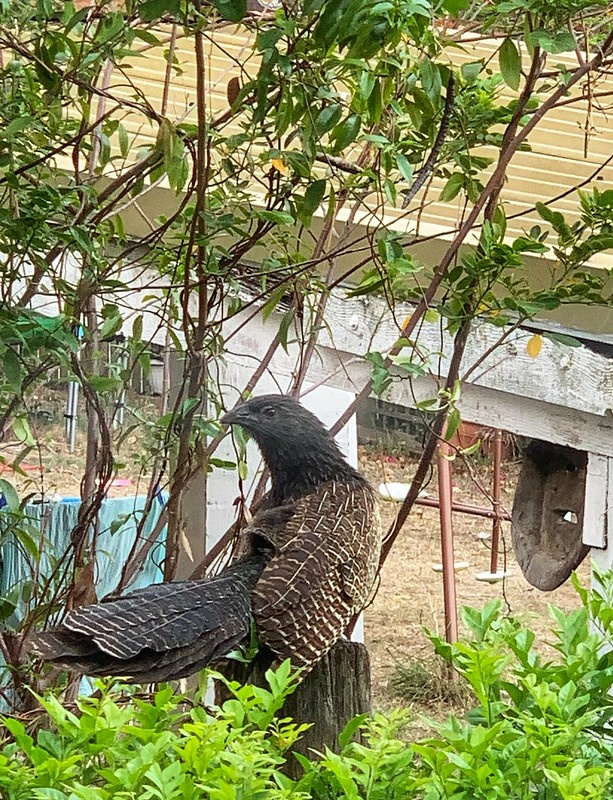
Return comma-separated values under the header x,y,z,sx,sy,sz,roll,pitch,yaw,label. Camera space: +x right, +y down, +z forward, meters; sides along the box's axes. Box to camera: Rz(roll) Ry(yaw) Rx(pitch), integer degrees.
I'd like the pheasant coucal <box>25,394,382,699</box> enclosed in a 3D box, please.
x,y,z,sx,sy,sz,roll,pitch,yaw,label
-0.147,0.268,2.969,0.309,0.512,0.847,-6,4,39,pheasant coucal
